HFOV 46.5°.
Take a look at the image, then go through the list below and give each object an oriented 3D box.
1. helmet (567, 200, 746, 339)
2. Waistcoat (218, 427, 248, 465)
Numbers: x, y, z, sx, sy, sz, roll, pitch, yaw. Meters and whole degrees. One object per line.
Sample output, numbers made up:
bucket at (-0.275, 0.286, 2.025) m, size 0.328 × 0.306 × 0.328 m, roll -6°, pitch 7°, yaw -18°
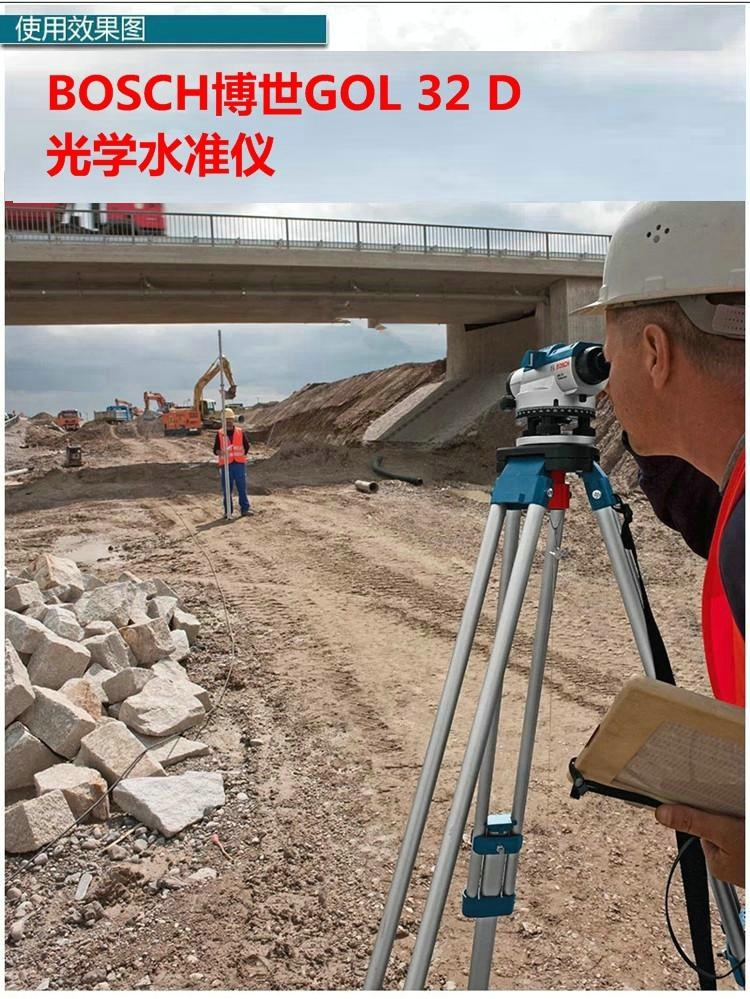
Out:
helmet at (0.607, -0.481, 1.873) m, size 0.268 × 0.179 × 0.368 m, roll -8°, pitch 15°, yaw -43°
Waistcoat at (-1.788, -0.647, 10.804) m, size 0.307 × 0.503 × 0.749 m, roll -6°, pitch 12°, yaw -10°
